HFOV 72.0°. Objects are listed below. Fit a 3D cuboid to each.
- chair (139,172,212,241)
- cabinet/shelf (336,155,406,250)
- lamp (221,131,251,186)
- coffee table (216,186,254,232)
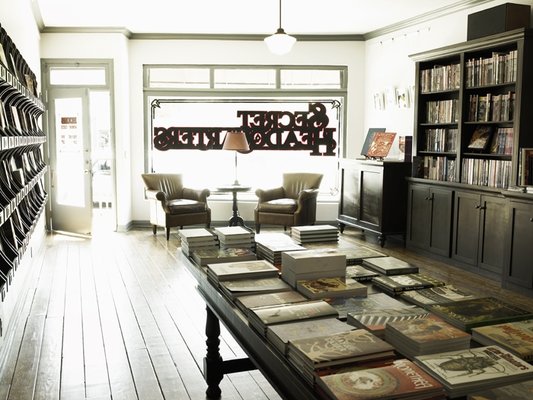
[{"bbox_3d":[-1.841,0.039,7.257,1.133,1.161,1.067,6,8,42],"label":"chair"},{"bbox_3d":[1.965,-0.003,6.862,0.588,1.329,1.583,-1,7,-15],"label":"cabinet/shelf"},{"bbox_3d":[-0.624,-0.894,7.632,0.526,1.108,0.954,-1,8,-4],"label":"lamp"},{"bbox_3d":[-0.646,0.124,7.413,0.676,0.796,0.657,-2,-7,4],"label":"coffee table"}]
